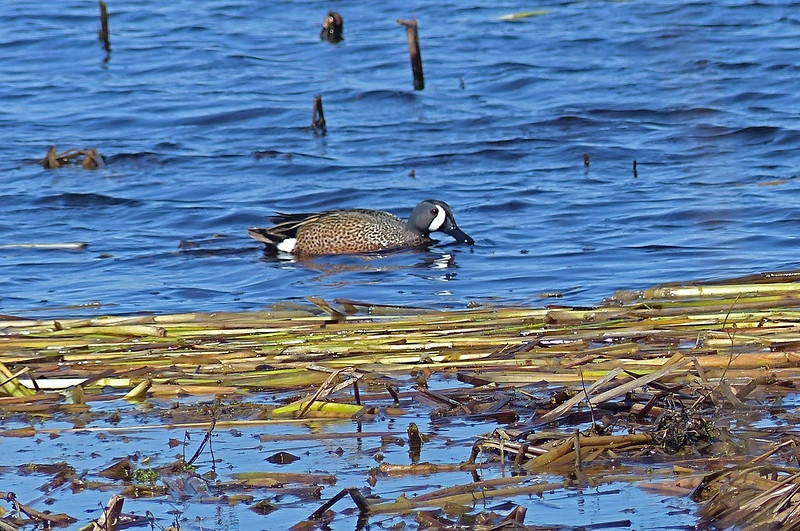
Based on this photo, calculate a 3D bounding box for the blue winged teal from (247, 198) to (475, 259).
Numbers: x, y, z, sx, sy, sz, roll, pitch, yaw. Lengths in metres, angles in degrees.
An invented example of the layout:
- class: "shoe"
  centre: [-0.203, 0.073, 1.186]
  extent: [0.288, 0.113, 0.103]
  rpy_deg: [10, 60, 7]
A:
- class: "blue winged teal"
  centre: [-0.693, -0.624, 18.003]
  extent: [3.409, 0.764, 0.922]
  rpy_deg: [-4, 10, -3]
